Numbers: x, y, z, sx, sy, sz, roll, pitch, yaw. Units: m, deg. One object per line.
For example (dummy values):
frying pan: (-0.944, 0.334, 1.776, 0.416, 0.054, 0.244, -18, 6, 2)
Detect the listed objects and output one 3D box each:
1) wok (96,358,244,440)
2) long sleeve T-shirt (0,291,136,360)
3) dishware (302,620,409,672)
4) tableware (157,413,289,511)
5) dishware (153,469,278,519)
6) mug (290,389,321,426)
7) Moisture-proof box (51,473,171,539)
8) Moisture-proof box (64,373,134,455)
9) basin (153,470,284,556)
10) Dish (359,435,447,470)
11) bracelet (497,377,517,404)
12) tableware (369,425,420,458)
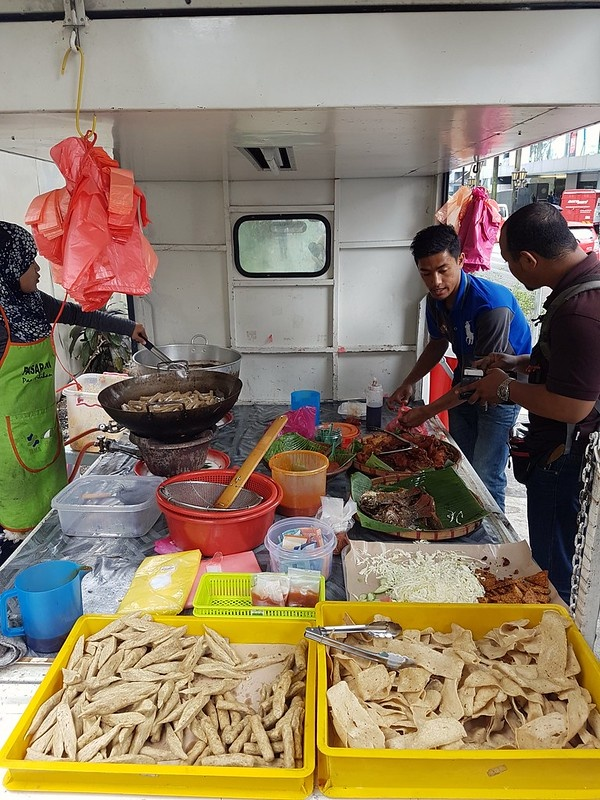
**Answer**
wok: (-0.463, 0.012, 2.280, 0.512, 0.189, 0.518, -10, 23, -22)
long sleeve T-shirt: (-1.203, -0.388, 3.097, 0.751, 0.241, 0.184, -12, 50, -42)
dishware: (0.128, 0.530, 1.302, 0.160, 0.035, 0.089, 5, 12, 9)
tableware: (-0.171, 0.182, 1.965, 0.201, 0.064, 0.367, 11, 23, 11)
dishware: (-0.256, 0.298, 1.896, 0.167, 0.045, 0.164, 12, 15, 19)
mug: (0.055, 0.034, 3.179, 0.173, 0.184, 0.174, 8, 16, 34)
Moisture-proof box: (-0.648, 0.351, 1.989, 0.277, 0.083, 0.225, 1, 15, -1)
Moisture-proof box: (-1.101, 0.119, 3.672, 0.406, 0.342, 0.508, 0, -1, 29)
basin: (-0.256, 0.363, 1.935, 0.440, 0.159, 0.390, -1, 10, -3)
Dish: (0.429, 0.210, 2.567, 0.212, 0.041, 0.211, 7, 14, 35)
bracelet: (0.793, -0.032, 2.265, 0.053, 0.088, 0.095, 0, -4, -4)
tableware: (0.419, 0.186, 2.683, 0.116, 0.037, 0.310, 12, 15, -3)
